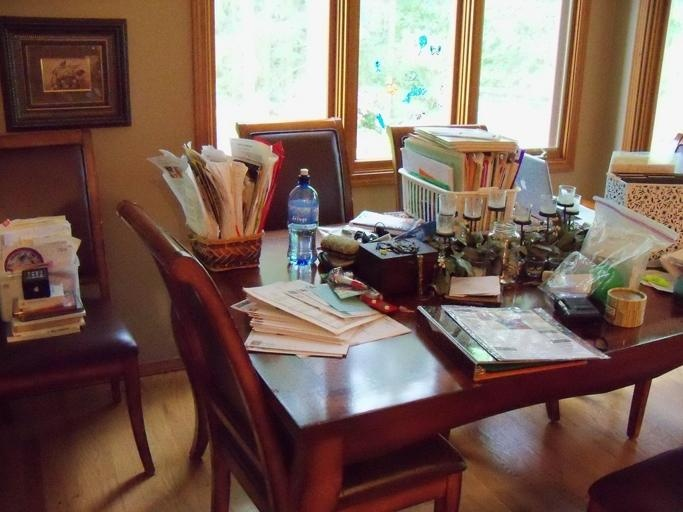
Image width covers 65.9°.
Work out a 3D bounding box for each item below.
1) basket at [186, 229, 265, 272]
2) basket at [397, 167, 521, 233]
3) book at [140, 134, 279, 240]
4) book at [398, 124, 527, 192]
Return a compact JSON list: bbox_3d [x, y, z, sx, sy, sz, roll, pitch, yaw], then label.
[{"bbox_3d":[-0.379,-0.015,1.815,0.268,0.114,0.315,-5,4,-6],"label":"basket"},{"bbox_3d":[0.399,-0.275,1.952,0.268,0.190,0.412,-7,20,-23],"label":"basket"},{"bbox_3d":[-0.442,-0.219,1.725,0.349,0.274,0.369,-8,11,-18],"label":"book"},{"bbox_3d":[0.417,-0.362,1.889,0.363,0.151,0.269,-6,28,-30],"label":"book"}]
